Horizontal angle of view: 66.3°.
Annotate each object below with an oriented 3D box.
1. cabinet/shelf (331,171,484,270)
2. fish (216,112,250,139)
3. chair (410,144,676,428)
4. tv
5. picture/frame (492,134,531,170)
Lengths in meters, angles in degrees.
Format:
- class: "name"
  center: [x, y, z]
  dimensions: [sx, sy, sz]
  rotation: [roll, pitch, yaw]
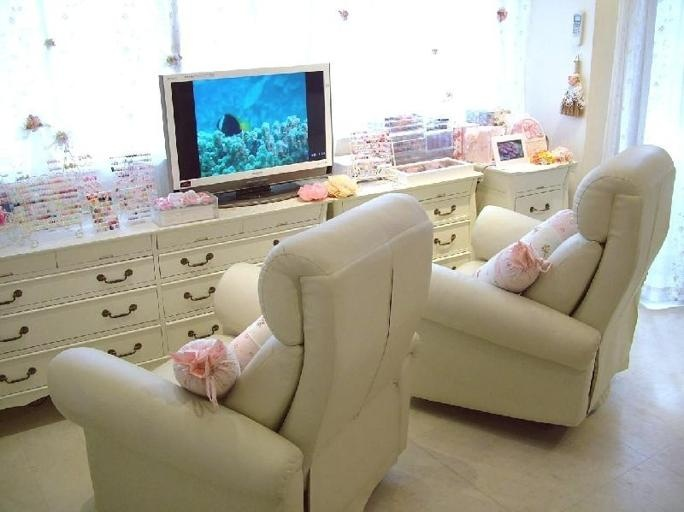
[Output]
- class: "cabinet/shelf"
  center: [0.324, -0.209, 2.573]
  dimensions: [0.439, 0.627, 0.296]
  rotation: [-20, 30, -37]
- class: "fish"
  center: [-0.620, -0.761, 3.017]
  dimensions: [0.196, 0.129, 0.017]
  rotation: [-15, 19, -33]
- class: "chair"
  center: [1.070, 0.186, 2.908]
  dimensions: [1.174, 1.573, 1.482]
  rotation: [11, 23, 32]
- class: "tv"
  center: [-0.591, -0.719, 3.053]
  dimensions: [0.755, 0.583, 0.226]
  rotation: [-18, 26, -29]
- class: "picture/frame"
  center: [1.190, -0.731, 3.696]
  dimensions: [0.246, 0.222, 0.021]
  rotation: [-8, 1, -29]
